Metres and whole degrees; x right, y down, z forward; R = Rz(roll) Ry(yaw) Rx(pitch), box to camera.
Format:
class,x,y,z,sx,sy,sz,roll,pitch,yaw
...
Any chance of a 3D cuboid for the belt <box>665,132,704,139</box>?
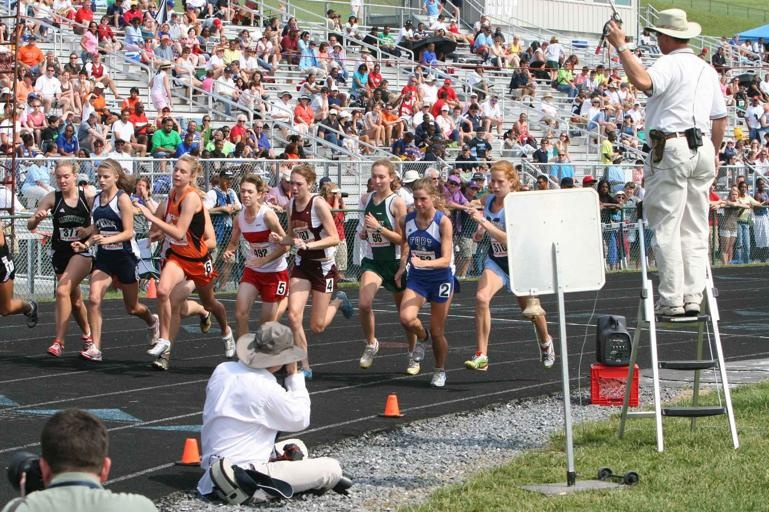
class,x,y,z,sx,sy,sz,roll,pitch,yaw
belt,2.909,-1.194,10.775,0.338,0.080,0.060,-2,0,-5

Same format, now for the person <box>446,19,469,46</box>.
class,x,y,z,sx,sy,sz,roll,pitch,yaw
person,2.364,-7.496,36.964,0.668,0.734,1.423,-15,24,-12

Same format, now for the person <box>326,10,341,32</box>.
class,x,y,z,sx,sy,sz,roll,pitch,yaw
person,-1.586,-7.108,33.346,0.446,0.711,1.278,-2,1,-2

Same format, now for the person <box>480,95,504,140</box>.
class,x,y,z,sx,sy,sz,roll,pitch,yaw
person,2.860,-3.845,30.244,0.645,1.029,0.814,-3,16,-32

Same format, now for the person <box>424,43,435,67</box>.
class,x,y,z,sx,sy,sz,roll,pitch,yaw
person,1.241,-6.016,32.986,0.421,0.652,0.778,-2,0,2

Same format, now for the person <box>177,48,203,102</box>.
class,x,y,z,sx,sy,sz,roll,pitch,yaw
person,-4.607,-4.268,25.977,0.723,1.247,0.564,8,17,12

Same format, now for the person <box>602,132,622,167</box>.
class,x,y,z,sx,sy,sz,roll,pitch,yaw
person,6.065,-2.869,29.657,0.584,0.926,0.598,1,14,18

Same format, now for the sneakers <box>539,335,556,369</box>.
class,x,y,z,sx,sy,sz,roll,pitch,yaw
sneakers,2.018,1.228,14.056,0.176,0.428,0.202,-1,-5,34

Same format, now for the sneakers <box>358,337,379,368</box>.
class,x,y,z,sx,sy,sz,roll,pitch,yaw
sneakers,-0.199,1.222,14.037,0.174,0.447,0.179,27,-26,7

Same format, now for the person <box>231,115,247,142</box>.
class,x,y,z,sx,sy,sz,roll,pitch,yaw
person,-3.160,-2.703,23.472,0.359,0.605,0.736,-3,0,-5

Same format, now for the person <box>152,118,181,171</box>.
class,x,y,z,sx,sy,sz,roll,pitch,yaw
person,-4.314,-2.243,22.254,0.904,0.985,0.845,2,14,-8

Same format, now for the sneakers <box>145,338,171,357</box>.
class,x,y,z,sx,sy,sz,roll,pitch,yaw
sneakers,-2.838,1.146,13.909,0.134,0.173,0.393,36,9,14

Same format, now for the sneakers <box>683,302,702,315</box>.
class,x,y,z,sx,sy,sz,roll,pitch,yaw
sneakers,3.004,0.515,10.779,0.223,0.139,0.113,-3,0,-41

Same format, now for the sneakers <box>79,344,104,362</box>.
class,x,y,z,sx,sy,sz,roll,pitch,yaw
sneakers,-3.792,1.259,14.275,0.408,0.169,0.140,10,-3,-10

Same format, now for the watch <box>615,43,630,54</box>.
class,x,y,z,sx,sy,sz,roll,pitch,yaw
watch,2.269,-1.997,10.612,0.106,0.060,0.101,-1,-1,-10

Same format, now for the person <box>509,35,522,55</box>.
class,x,y,z,sx,sy,sz,roll,pitch,yaw
person,4.220,-6.959,36.369,0.335,0.645,0.932,-3,0,16

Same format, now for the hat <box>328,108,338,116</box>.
class,x,y,z,sx,sy,sz,roll,pitch,yaw
hat,-1.260,-3.377,25.919,0.225,0.096,0.316,1,13,-3

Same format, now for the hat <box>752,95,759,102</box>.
class,x,y,z,sx,sy,sz,roll,pitch,yaw
hat,12.171,-5.208,36.481,0.247,0.179,0.374,0,11,7

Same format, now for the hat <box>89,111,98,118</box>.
class,x,y,z,sx,sy,sz,roll,pitch,yaw
hat,-5.853,-2.830,22.081,0.235,0.099,0.327,1,4,-18

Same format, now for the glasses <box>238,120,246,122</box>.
class,x,y,z,sx,sy,sz,roll,pitch,yaw
glasses,-3.060,-2.858,23.361,0.152,0.065,0.213,-2,1,-11

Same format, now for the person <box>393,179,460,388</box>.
class,x,y,z,sx,sy,sz,roll,pitch,yaw
person,0.486,0.337,13.376,0.675,2.498,0.985,-3,0,3

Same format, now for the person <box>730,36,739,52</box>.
class,x,y,z,sx,sy,sz,roll,pitch,yaw
person,14.769,-9.055,46.937,0.330,0.714,1.753,-3,1,18

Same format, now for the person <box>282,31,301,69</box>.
class,x,y,z,sx,sy,sz,roll,pitch,yaw
person,-2.523,-5.517,29.154,0.474,0.927,0.934,-3,0,-5

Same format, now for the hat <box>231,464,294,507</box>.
class,x,y,z,sx,sy,sz,roll,pitch,yaw
hat,-1.096,1.987,9.650,0.601,0.213,0.197,6,30,-13

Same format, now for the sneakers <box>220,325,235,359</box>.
class,x,y,z,sx,sy,sz,roll,pitch,yaw
sneakers,-2.137,1.180,14.845,0.171,0.439,0.189,-8,3,8

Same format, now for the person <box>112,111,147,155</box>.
class,x,y,z,sx,sy,sz,roll,pitch,yaw
person,-5.250,-2.433,22.480,0.798,1.028,0.575,20,20,39

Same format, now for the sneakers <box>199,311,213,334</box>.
class,x,y,z,sx,sy,sz,roll,pitch,yaw
sneakers,-2.584,0.964,15.787,0.191,0.445,0.206,4,8,7

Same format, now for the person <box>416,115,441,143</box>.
class,x,y,z,sx,sy,sz,roll,pitch,yaw
person,1.105,-3.002,25.918,0.564,0.635,0.734,-7,8,-28

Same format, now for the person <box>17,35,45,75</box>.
class,x,y,z,sx,sy,sz,roll,pitch,yaw
person,-7.616,-4.322,23.744,0.746,0.742,0.612,13,18,13

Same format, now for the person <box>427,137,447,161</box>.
class,x,y,z,sx,sy,sz,roll,pitch,yaw
person,1.123,-2.445,25.169,0.286,0.759,0.263,-7,45,-19

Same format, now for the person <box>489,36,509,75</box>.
class,x,y,z,sx,sy,sz,roll,pitch,yaw
person,3.586,-6.529,35.489,0.529,1.202,1.452,-3,0,6

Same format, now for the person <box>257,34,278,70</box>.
class,x,y,z,sx,sy,sz,roll,pitch,yaw
person,-3.083,-5.266,28.489,0.551,1.003,0.683,-2,0,11

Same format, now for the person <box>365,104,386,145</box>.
class,x,y,z,sx,sy,sz,roll,pitch,yaw
person,-0.262,-3.161,26.636,0.542,1.032,0.409,-3,0,-20

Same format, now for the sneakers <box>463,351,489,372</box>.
class,x,y,z,sx,sy,sz,roll,pitch,yaw
sneakers,1.112,1.301,13.468,0.178,0.205,0.494,-2,-9,38

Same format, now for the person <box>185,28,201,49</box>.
class,x,y,z,sx,sy,sz,roll,pitch,yaw
person,-4.809,-5.436,27.493,0.326,0.530,1.324,-3,1,-9

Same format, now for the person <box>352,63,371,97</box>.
class,x,y,z,sx,sy,sz,roll,pitch,yaw
person,-0.588,-4.585,28.736,0.658,0.797,0.579,13,14,35

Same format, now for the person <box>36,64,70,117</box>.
class,x,y,z,sx,sy,sz,roll,pitch,yaw
person,-6.887,-3.469,22.891,0.590,1.022,0.800,-2,0,30

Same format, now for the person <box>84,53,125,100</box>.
class,x,y,z,sx,sy,sz,roll,pitch,yaw
person,-6.384,-3.985,24.512,0.924,1.007,0.852,12,27,23

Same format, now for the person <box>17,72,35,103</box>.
class,x,y,z,sx,sy,sz,roll,pitch,yaw
person,-7.337,-3.431,22.436,0.281,0.626,0.726,-3,1,-14

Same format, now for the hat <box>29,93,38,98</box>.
class,x,y,z,sx,sy,sz,roll,pitch,yaw
hat,-7.133,-3.256,22.338,0.170,0.130,0.299,-2,1,-14

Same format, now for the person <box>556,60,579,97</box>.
class,x,y,z,sx,sy,sz,roll,pitch,yaw
person,5.725,-5.616,34.956,0.634,1.198,0.720,-2,0,40

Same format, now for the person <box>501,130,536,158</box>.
class,x,y,z,sx,sy,sz,roll,pitch,yaw
person,3.320,-2.854,28.440,0.780,0.367,0.878,3,-1,-7

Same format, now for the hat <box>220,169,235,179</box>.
class,x,y,z,sx,sy,sz,roll,pitch,yaw
hat,-3.016,-1.547,20.838,0.262,0.116,0.354,-1,5,-20

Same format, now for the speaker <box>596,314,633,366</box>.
class,x,y,z,sx,sy,sz,roll,pitch,yaw
speaker,2.471,0.938,12.035,0.371,0.575,0.368,-2,0,9

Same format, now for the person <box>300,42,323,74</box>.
class,x,y,z,sx,sy,sz,roll,pitch,yaw
person,-2.022,-5.283,29.243,0.547,0.871,1.205,-2,1,1

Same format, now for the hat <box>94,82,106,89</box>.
class,x,y,z,sx,sy,sz,roll,pitch,yaw
hat,-6.233,-3.751,24.193,0.264,0.121,0.401,-7,14,-38

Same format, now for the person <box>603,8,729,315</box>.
class,x,y,z,sx,sy,sz,roll,pitch,yaw
person,2.817,-0.950,10.923,1.332,3.077,0.546,-3,0,-34

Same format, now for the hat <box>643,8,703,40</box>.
class,x,y,z,sx,sy,sz,roll,pitch,yaw
hat,2.847,-2.250,11.029,0.464,0.160,0.408,14,29,23

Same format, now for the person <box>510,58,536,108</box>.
class,x,y,z,sx,sy,sz,roll,pitch,yaw
person,4.103,-5.113,33.417,0.758,1.407,1.263,-3,0,6

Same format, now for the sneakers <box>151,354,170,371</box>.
class,x,y,z,sx,sy,sz,roll,pitch,yaw
sneakers,-2.805,1.367,13.929,0.119,0.204,0.309,-2,-18,26

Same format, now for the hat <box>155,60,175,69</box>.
class,x,y,z,sx,sy,sz,roll,pitch,yaw
hat,-5.032,-4.398,25.272,0.462,0.107,0.423,-3,1,-28

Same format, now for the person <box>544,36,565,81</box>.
class,x,y,z,sx,sy,sz,roll,pitch,yaw
person,5.335,-6.296,35.477,0.646,1.434,0.498,3,22,-5

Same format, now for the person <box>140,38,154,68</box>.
class,x,y,z,sx,sy,sz,roll,pitch,yaw
person,-5.678,-4.870,26.364,0.265,0.740,1.458,-3,1,-11
